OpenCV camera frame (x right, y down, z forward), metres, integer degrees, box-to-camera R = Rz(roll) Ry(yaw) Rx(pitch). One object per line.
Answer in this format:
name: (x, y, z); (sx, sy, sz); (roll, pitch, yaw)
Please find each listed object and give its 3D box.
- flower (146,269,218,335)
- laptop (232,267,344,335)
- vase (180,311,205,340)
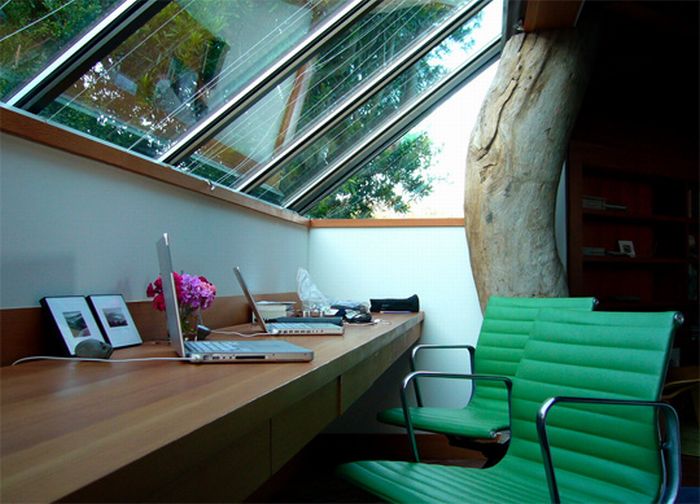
flower: (-0.619, 0.171, 1.826); (0.254, 0.255, 0.253); (-2, 3, -9)
laptop: (-0.259, 0.236, 2.027); (0.344, 0.212, 0.346); (1, -3, -9)
vase: (-0.630, 0.294, 1.872); (0.106, 0.157, 0.100); (0, -9, -11)
